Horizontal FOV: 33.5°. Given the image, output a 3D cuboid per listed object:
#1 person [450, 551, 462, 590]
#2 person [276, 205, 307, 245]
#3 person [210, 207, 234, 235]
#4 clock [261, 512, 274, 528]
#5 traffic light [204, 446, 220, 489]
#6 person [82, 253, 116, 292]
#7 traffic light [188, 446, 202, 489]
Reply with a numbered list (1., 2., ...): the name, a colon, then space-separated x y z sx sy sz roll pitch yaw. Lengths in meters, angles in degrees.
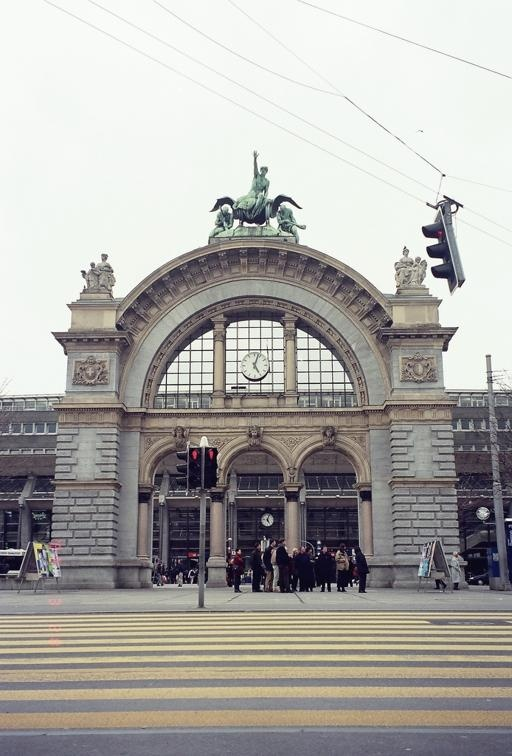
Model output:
1. person: 8.310 7.963 35.269 0.479 1.571 1.955 -3 -13 13
2. person: 1.607 -7.823 43.576 1.389 2.273 0.783 -11 -17 39
3. person: -1.751 -8.043 43.870 1.136 1.786 0.721 0 -13 0
4. clock: 0.865 10.789 64.558 1.127 1.141 0.333 1 -16 -2
5. traffic light: -1.058 2.097 19.841 0.256 0.986 0.539 0 -13 2
6. person: -7.492 -4.690 40.399 1.295 1.801 0.724 1 -13 -3
7. traffic light: -1.422 2.053 19.674 0.330 0.950 0.503 1 -13 -5
